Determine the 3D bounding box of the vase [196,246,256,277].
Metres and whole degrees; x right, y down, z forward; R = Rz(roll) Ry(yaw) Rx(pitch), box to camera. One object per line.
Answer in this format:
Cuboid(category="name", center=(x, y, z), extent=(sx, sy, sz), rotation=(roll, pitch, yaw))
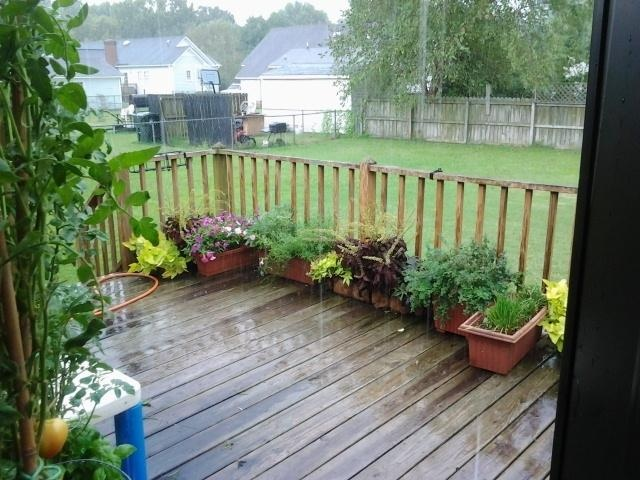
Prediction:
Cuboid(category="vase", center=(-0.813, 0.191, 4.289), extent=(0.412, 0.143, 0.267), rotation=(-13, 13, -43))
